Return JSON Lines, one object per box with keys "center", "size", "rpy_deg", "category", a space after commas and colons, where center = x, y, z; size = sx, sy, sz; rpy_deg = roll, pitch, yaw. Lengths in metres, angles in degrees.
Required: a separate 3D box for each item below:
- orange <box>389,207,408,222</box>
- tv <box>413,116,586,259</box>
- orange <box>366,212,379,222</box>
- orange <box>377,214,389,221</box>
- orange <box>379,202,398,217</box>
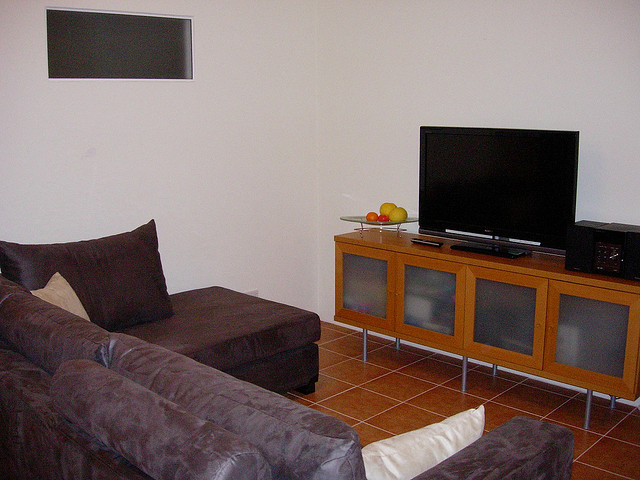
{"center": [0.611, -0.191, 4.061], "size": [0.107, 0.105, 0.110], "rpy_deg": [-19, 26, -29], "category": "orange"}
{"center": [1.224, -0.343, 3.738], "size": [0.307, 0.891, 1.194], "rpy_deg": [-15, 20, -39], "category": "tv"}
{"center": [0.414, -0.175, 4.118], "size": [0.073, 0.070, 0.072], "rpy_deg": [3, -25, -37], "category": "orange"}
{"center": [0.494, -0.167, 4.061], "size": [0.049, 0.049, 0.056], "rpy_deg": [16, -7, -26], "category": "orange"}
{"center": [0.540, -0.236, 4.114], "size": [0.111, 0.107, 0.109], "rpy_deg": [-2, -1, 31], "category": "orange"}
